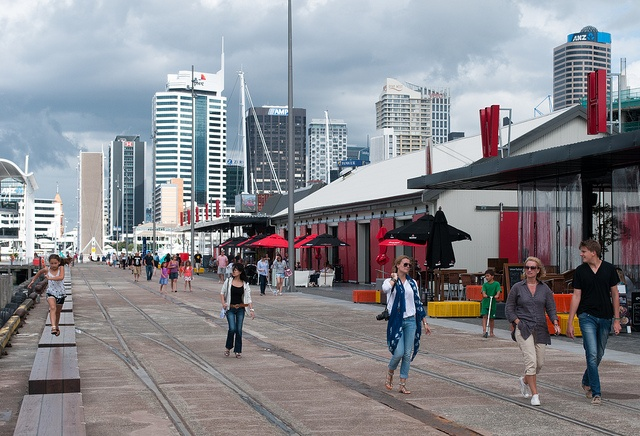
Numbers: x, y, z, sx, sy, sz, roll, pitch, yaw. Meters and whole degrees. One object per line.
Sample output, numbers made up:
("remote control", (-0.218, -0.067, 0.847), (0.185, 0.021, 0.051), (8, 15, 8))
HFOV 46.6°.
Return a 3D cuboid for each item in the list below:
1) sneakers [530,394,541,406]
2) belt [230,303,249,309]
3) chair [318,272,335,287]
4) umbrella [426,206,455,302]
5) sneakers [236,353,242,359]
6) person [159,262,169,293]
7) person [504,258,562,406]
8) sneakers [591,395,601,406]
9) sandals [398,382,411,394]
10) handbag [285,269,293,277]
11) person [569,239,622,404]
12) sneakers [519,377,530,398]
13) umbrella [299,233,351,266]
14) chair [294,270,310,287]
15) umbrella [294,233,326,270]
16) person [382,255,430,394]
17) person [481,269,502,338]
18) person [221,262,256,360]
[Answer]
("sneakers", (3.966, 3.323, 13.718), (0.191, 0.210, 0.295), (-1, -3, 17))
("belt", (-1.961, 2.138, 18.174), (0.453, 0.120, 0.105), (2, -3, -25))
("chair", (0.373, 3.672, 44.350), (0.823, 0.899, 0.774), (0, -4, 14))
("umbrella", (4.408, 0.786, 27.353), (0.999, 2.080, 0.566), (0, -3, 9))
("sneakers", (-1.947, 3.282, 17.780), (0.110, 0.075, 0.289), (-1, -2, -13))
("person", (-8.392, 3.157, 40.088), (0.389, 1.570, 1.694), (1, -3, -12))
("person", (3.996, 2.092, 13.951), (0.806, 2.697, 0.743), (2, -3, -23))
("sneakers", (5.088, 3.336, 13.722), (0.166, 0.168, 0.232), (-1, -3, 18))
("sandals", (1.647, 3.328, 14.545), (0.112, 0.142, 0.340), (0, -12, -15))
("handbag", (-1.646, 2.868, 38.709), (0.367, 0.374, 0.367), (-8, -14, 30))
("person", (5.155, 1.918, 14.059), (0.907, 3.029, 0.604), (2, -3, -26))
("sneakers", (3.888, 3.256, 14.196), (0.164, 0.459, 0.178), (-9, -3, -41))
("umbrella", (0.463, 1.995, 47.875), (2.401, 1.745, 2.398), (0, 1, -28))
("chair", (-1.074, 3.589, 43.850), (0.834, 0.994, 0.907), (1, 3, -2))
("umbrella", (-0.914, 1.930, 44.193), (1.889, 1.373, 1.899), (-1, -4, 12))
("person", (1.646, 2.068, 14.625), (0.756, 2.654, 0.896), (-1, -3, 22))
("person", (5.003, 2.470, 21.749), (0.506, 1.918, 1.230), (0, -3, 14))
("person", (-2.050, 2.230, 18.271), (0.782, 2.232, 1.054), (0, -3, -2))
